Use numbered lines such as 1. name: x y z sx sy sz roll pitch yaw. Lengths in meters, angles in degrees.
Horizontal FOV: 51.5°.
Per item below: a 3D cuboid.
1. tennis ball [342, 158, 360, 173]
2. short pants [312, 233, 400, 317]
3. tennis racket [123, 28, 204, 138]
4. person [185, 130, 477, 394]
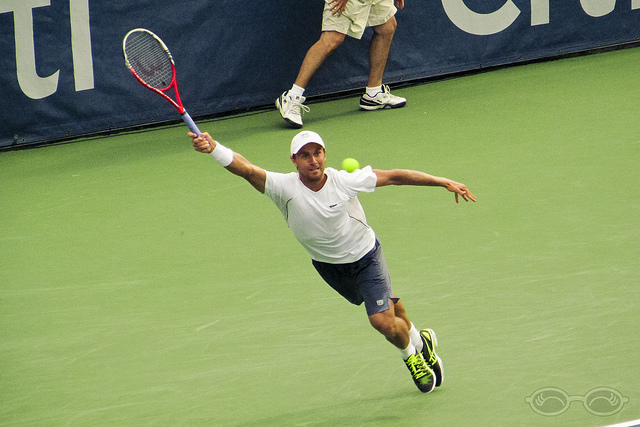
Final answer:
1. tennis ball: 0.336 -0.545 7.400 0.148 0.118 0.206 -23 10 -3
2. short pants: 0.304 0.573 5.606 0.576 0.510 0.445 -22 10 6
3. tennis racket: -2.230 -1.934 9.521 0.660 2.507 0.198 -23 -27 -21
4. person: 0.231 0.278 5.550 1.598 1.945 0.601 -21 10 9
